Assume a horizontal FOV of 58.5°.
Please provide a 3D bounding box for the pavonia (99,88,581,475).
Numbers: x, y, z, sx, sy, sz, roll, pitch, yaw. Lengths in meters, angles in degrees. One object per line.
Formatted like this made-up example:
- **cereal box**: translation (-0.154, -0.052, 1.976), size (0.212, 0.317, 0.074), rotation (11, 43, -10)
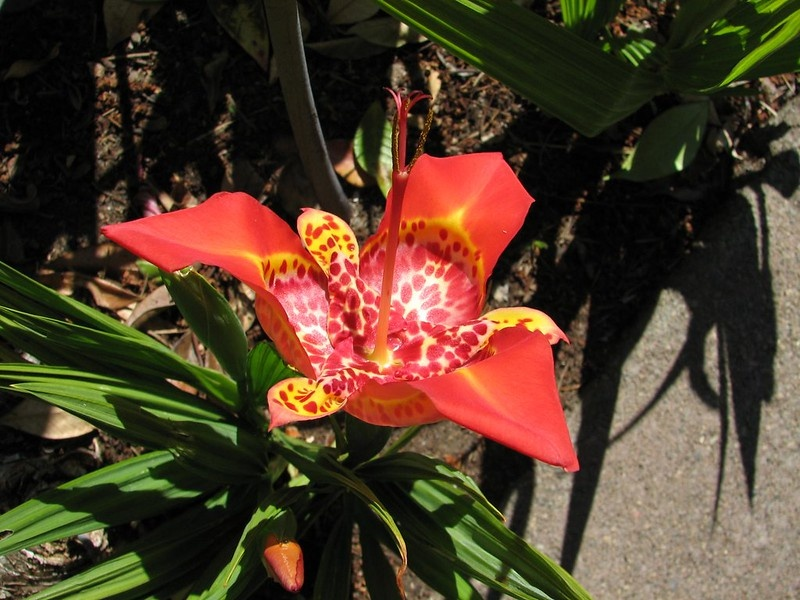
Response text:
- **pavonia**: translation (-0.161, -0.015, 1.815), size (0.678, 0.552, 0.696), rotation (-22, 53, -40)
